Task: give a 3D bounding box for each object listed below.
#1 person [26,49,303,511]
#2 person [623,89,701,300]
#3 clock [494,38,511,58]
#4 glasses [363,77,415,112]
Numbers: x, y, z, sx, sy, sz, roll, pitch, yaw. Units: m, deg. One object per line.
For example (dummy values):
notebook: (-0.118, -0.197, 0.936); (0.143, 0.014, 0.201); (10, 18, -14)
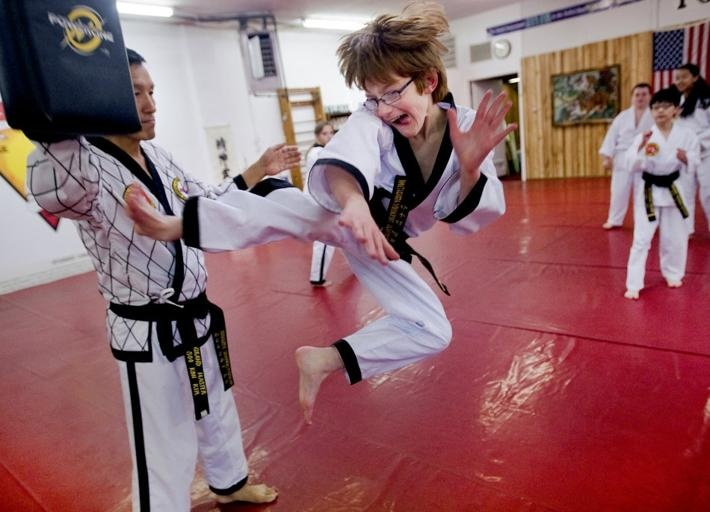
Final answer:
person: (-0.924, 0.175, 2.509); (0.460, 2.125, 0.698); (6, 19, 34)
person: (2.304, -0.488, 4.201); (0.495, 1.475, 0.803); (4, 18, 31)
clock: (2.786, -3.910, 10.518); (0.305, 0.316, 0.307); (-3, 24, -9)
glasses: (0.134, -0.748, 2.528); (0.153, 0.044, 0.149); (-46, 17, -31)
